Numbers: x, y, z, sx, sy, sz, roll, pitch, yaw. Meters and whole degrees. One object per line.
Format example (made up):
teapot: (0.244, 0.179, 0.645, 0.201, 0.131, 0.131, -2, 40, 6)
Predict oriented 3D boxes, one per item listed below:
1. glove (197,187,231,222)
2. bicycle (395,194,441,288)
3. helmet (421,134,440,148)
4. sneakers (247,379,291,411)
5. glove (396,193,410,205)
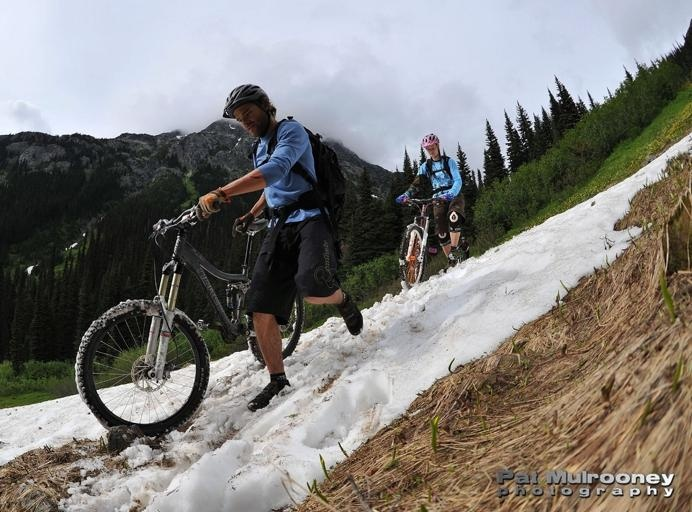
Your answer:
glove: (-1.265, -0.500, 4.702, 0.294, 0.244, 0.108, -30, -12, 25)
bicycle: (1.346, -0.338, 9.560, 0.990, 1.450, 1.796, -17, -7, 12)
helmet: (1.622, -2.243, 9.692, 0.269, 0.254, 0.329, -18, -7, 6)
sneakers: (-0.769, 1.399, 5.063, 0.503, 0.245, 0.177, -19, 13, -35)
glove: (1.055, -1.056, 9.231, 0.258, 0.101, 0.259, -32, 19, -24)
